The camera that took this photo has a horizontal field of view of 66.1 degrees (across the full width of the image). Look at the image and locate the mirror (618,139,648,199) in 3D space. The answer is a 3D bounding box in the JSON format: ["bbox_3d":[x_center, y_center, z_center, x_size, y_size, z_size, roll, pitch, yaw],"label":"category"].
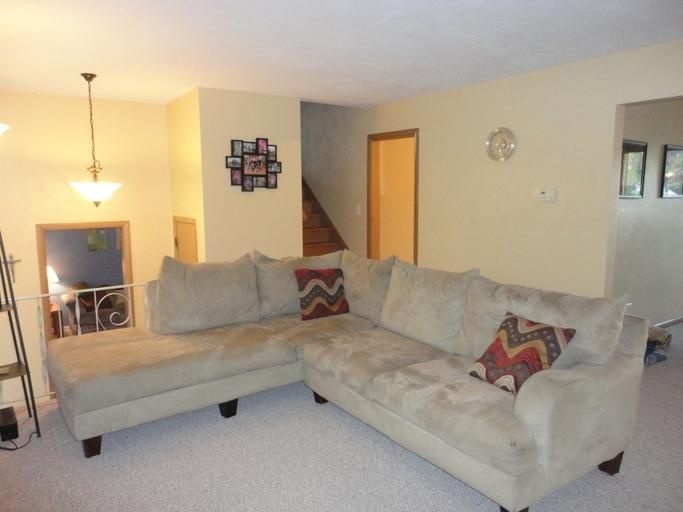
[{"bbox_3d":[3.156,-0.955,5.709,0.721,0.820,0.083,-5,7,-40],"label":"mirror"}]

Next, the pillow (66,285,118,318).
[{"bbox_3d":[-3.581,0.659,7.498,0.484,0.375,0.497,-3,12,-9],"label":"pillow"}]

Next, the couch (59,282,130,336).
[{"bbox_3d":[-3.886,0.865,8.290,0.972,0.684,0.944,-2,2,-36],"label":"couch"}]

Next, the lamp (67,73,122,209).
[{"bbox_3d":[-2.872,-1.247,6.053,0.522,1.357,1.353,-8,8,-25],"label":"lamp"}]

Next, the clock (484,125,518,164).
[{"bbox_3d":[1.760,-1.213,5.793,0.061,0.361,0.342,-11,10,-39],"label":"clock"}]

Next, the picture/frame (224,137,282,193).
[{"bbox_3d":[-1.114,-1.124,6.422,0.712,0.680,0.031,-3,8,-36],"label":"picture/frame"}]
